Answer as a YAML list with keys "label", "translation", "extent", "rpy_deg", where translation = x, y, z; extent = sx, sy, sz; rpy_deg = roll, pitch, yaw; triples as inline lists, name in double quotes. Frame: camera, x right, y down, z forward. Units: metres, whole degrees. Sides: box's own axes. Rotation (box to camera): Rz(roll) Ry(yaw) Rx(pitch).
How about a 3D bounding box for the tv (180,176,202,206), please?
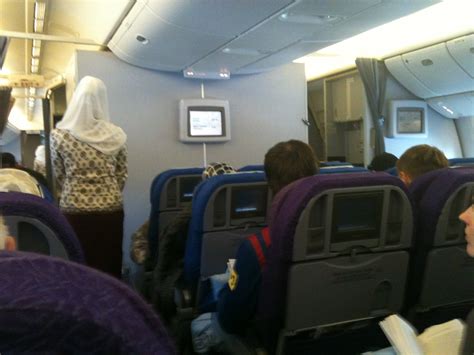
- label: "tv"
  translation: [-0.289, 0.079, 2.363]
  extent: [0.193, 0.214, 0.028]
  rpy_deg: [-5, 8, -30]

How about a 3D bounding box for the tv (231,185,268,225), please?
- label: "tv"
  translation: [0.052, 0.127, 1.862]
  extent: [0.196, 0.161, 0.100]
  rpy_deg: [-3, 5, -29]

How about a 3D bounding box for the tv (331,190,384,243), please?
- label: "tv"
  translation: [0.384, 0.120, 1.244]
  extent: [0.172, 0.146, 0.086]
  rpy_deg: [-2, 7, -20]

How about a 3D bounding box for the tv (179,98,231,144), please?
- label: "tv"
  translation: [-0.368, -0.610, 4.121]
  extent: [0.511, 0.410, 0.070]
  rpy_deg: [-1, 2, -19]
